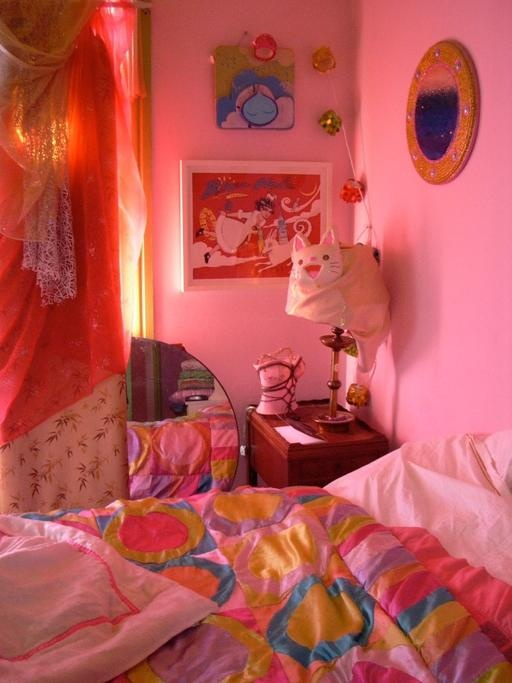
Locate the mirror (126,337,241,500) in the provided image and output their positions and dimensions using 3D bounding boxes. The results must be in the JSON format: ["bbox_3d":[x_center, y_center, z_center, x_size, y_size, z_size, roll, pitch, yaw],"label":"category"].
[{"bbox_3d":[-0.339,0.318,2.519,0.602,0.617,0.154,11,-5,-33],"label":"mirror"}]

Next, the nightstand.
[{"bbox_3d":[0.239,0.379,2.314,0.376,0.483,0.487,-4,14,-14],"label":"nightstand"}]

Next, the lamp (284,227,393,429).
[{"bbox_3d":[0.312,-0.139,2.158,0.386,0.574,0.211,-10,7,3],"label":"lamp"}]

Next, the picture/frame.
[{"bbox_3d":[-0.023,-0.540,2.532,0.693,0.539,0.032,-3,12,-14],"label":"picture/frame"}]
